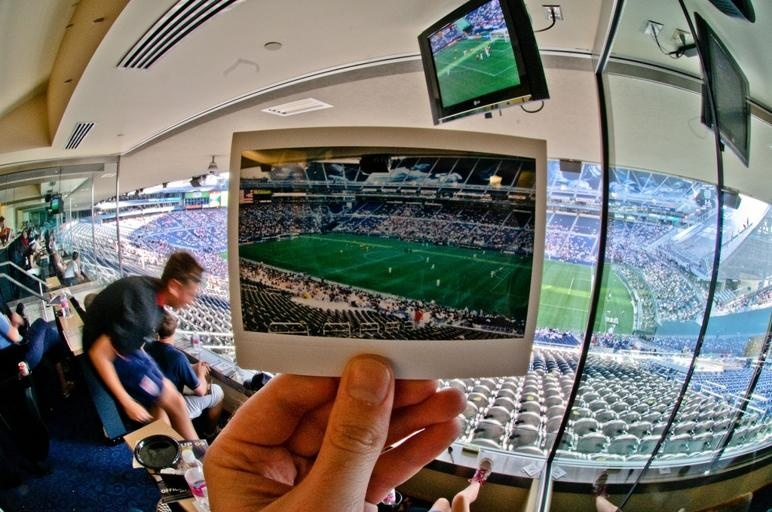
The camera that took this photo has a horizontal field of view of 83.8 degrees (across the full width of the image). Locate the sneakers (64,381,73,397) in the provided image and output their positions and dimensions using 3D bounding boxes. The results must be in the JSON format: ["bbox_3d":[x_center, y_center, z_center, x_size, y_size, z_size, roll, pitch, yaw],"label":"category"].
[{"bbox_3d":[-3.673,1.514,4.943,0.052,0.107,0.158,7,21,-8],"label":"sneakers"}]

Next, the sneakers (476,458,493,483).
[{"bbox_3d":[0.981,2.095,4.263,0.108,0.254,0.104,12,-8,10],"label":"sneakers"}]

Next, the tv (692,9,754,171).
[{"bbox_3d":[1.920,-0.972,2.459,0.183,0.652,0.362,3,4,-20],"label":"tv"}]
